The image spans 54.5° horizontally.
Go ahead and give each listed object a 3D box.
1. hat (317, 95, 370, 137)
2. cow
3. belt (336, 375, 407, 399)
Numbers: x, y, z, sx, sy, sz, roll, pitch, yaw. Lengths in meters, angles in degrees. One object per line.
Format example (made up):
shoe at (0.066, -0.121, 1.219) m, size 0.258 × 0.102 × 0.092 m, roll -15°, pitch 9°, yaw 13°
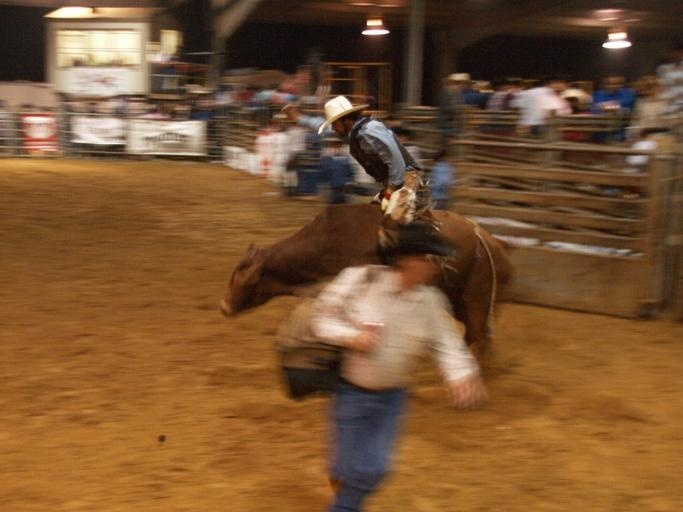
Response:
hat at (-0.006, -1.252, 5.876) m, size 0.347 × 0.342 × 0.771 m, roll 5°, pitch 9°, yaw -3°
cow at (0.123, 0.165, 4.124) m, size 2.150 × 0.664 × 0.480 m, roll -1°, pitch -3°, yaw -27°
belt at (0.140, 0.541, 2.713) m, size 0.297 × 0.094 × 0.077 m, roll 2°, pitch 13°, yaw -9°
